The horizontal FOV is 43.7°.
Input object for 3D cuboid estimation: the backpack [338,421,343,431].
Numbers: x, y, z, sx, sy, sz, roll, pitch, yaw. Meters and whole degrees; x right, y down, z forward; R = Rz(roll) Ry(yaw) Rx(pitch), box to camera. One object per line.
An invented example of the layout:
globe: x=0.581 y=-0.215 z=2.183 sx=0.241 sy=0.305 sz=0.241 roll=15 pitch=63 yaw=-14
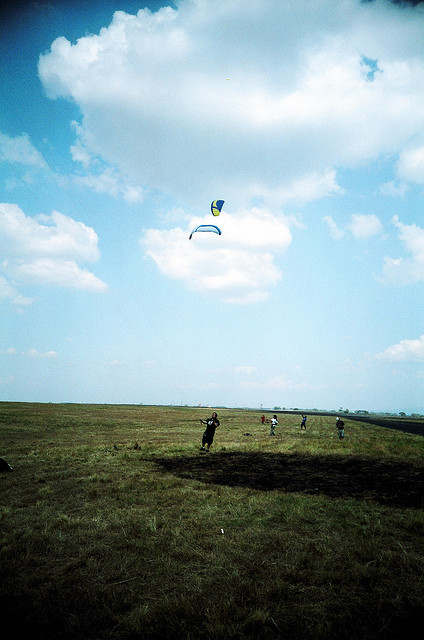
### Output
backpack: x=8.633 y=7.158 z=35.795 sx=0.293 sy=0.371 sz=0.674 roll=2 pitch=-5 yaw=5

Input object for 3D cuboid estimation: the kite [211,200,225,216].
kite: x=0.332 y=-7.100 z=33.904 sx=0.568 sy=0.970 sz=0.834 roll=2 pitch=-5 yaw=5
